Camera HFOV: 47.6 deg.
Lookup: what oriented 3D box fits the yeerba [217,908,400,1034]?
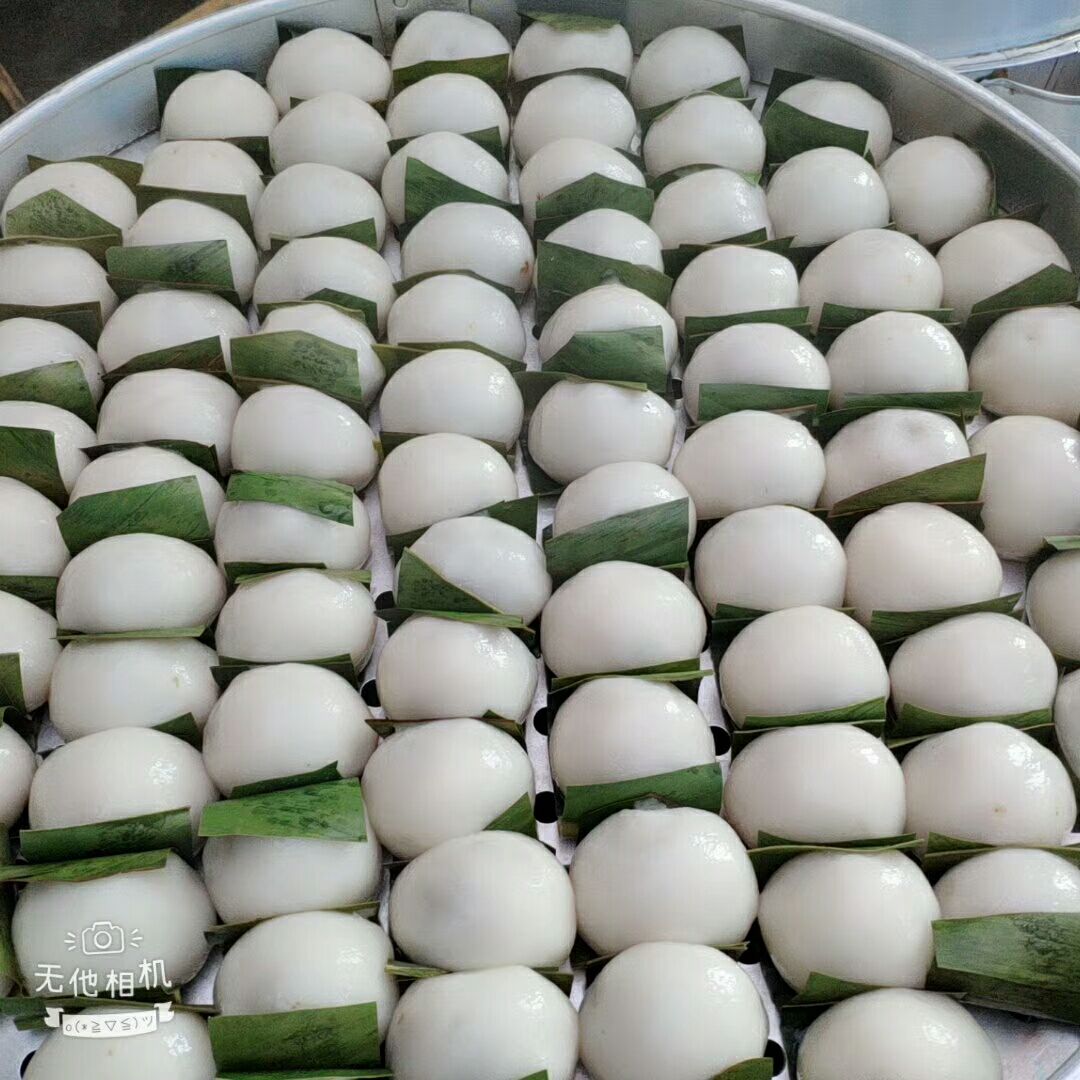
[{"bbox_3d":[-0.167,0.281,0.855,0.072,0.099,0.062,-16,79,3],"label":"yeerba"}]
